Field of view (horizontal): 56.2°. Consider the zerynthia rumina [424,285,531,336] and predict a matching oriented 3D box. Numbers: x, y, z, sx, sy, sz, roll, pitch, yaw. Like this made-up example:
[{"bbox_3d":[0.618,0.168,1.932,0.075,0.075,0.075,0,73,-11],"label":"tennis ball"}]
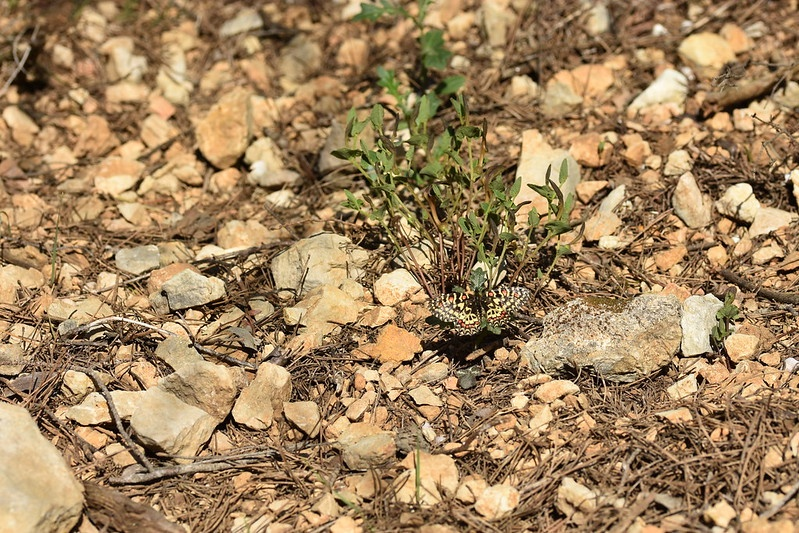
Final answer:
[{"bbox_3d":[0.455,0.250,4.264,0.562,0.201,0.261,-7,78,4],"label":"zerynthia rumina"}]
